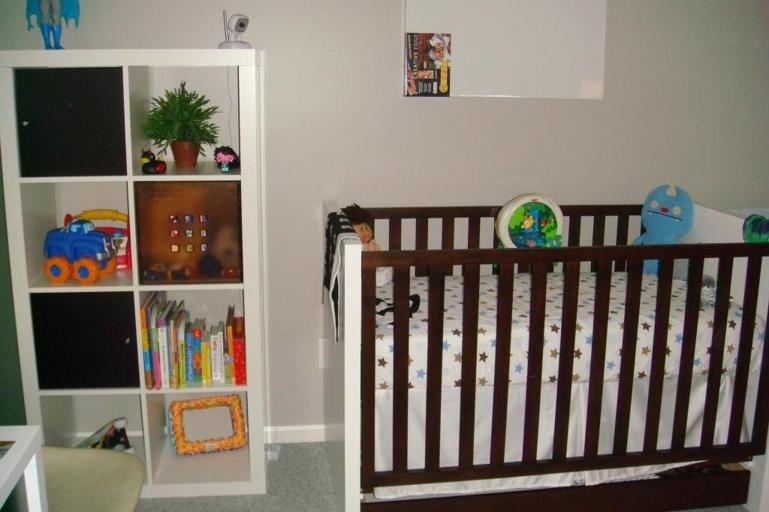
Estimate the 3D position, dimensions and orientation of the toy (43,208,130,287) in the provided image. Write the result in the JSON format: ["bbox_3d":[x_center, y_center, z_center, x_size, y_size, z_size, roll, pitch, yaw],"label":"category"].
[{"bbox_3d":[-1.388,-0.056,3.083,0.428,0.325,0.296,3,15,5],"label":"toy"}]

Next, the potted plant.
[{"bbox_3d":[-0.959,-0.592,3.082,0.298,0.327,0.321,1,21,-6],"label":"potted plant"}]

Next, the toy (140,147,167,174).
[{"bbox_3d":[-1.079,-0.438,3.020,0.141,0.117,0.091,3,10,28],"label":"toy"}]
